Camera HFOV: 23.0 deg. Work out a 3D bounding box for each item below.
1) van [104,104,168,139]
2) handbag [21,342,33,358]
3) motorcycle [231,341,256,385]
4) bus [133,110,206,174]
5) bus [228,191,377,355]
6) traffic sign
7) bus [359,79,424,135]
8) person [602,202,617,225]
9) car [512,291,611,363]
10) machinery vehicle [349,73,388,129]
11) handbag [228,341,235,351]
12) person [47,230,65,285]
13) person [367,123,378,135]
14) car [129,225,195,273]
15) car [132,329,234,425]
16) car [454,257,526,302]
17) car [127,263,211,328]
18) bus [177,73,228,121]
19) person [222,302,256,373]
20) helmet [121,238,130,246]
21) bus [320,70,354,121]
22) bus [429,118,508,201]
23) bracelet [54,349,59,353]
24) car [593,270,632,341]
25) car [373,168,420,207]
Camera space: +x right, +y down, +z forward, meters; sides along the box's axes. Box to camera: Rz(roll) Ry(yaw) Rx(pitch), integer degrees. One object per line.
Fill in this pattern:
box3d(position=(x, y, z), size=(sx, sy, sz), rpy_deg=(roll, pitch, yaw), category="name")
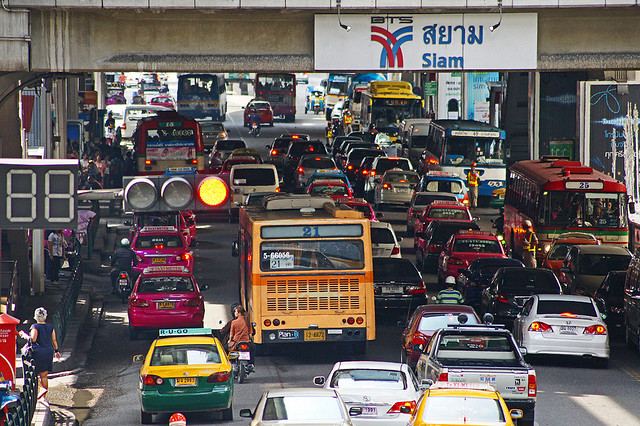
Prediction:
box3d(position=(-10.630, -5.607, 96.165), size=(4.321, 2.313, 2.377), rpy_deg=(-2, 0, 7), category="van")
box3d(position=(-7.225, 3.357, 38.877), size=(0.261, 0.338, 0.296), rpy_deg=(-4, 9, -10), category="handbag")
box3d(position=(-1.931, 3.834, 40.174), size=(0.533, 0.659, 1.033), rpy_deg=(-1, 6, -2), category="motorcycle")
box3d(position=(-6.162, -2.838, 63.622), size=(2.026, 2.198, 4.099), rpy_deg=(-1, 6, -6), category="bus")
box3d(position=(-0.260, 1.596, 41.577), size=(2.447, 2.752, 4.867), rpy_deg=(0, 7, -5), category="bus")
box3d(position=(-2.924, -0.423, 32.233), size=(2.173, 0.799, 0.384), rpy_deg=(-3, 9, -5), category="traffic sign")
box3d(position=(3.619, -5.294, 79.796), size=(2.876, 3.334, 7.558), rpy_deg=(0, 3, -4), category="bus")
box3d(position=(9.320, -0.005, 50.517), size=(0.606, 0.823, 0.185), rpy_deg=(-2, 8, 6), category="person")
box3d(position=(6.664, 3.009, 43.430), size=(2.184, 1.696, 4.504), rpy_deg=(3, 3, 2), category="car")
box3d(position=(2.928, -6.695, 90.496), size=(1.633, 2.399, 4.725), rpy_deg=(-1, 6, -3), category="machinery vehicle")
box3d(position=(-2.274, 3.444, 40.711), size=(0.220, 0.224, 0.067), rpy_deg=(15, -4, 19), category="handbag")
box3d(position=(-8.565, 1.386, 51.233), size=(0.421, 1.589, 0.932), rpy_deg=(-2, 9, 3), category="person")
box3d(position=(2.741, -4.325, 80.087), size=(0.475, 0.325, 0.856), rpy_deg=(0, 12, -5), category="person")
box3d(position=(-5.176, 1.159, 51.242), size=(2.010, 1.559, 3.537), rpy_deg=(0, 8, -2), category="car")
box3d(position=(-3.282, 3.865, 38.492), size=(1.590, 1.359, 2.700), rpy_deg=(0, 7, -5), category="car")
box3d(position=(5.061, 1.983, 46.328), size=(0.992, 0.792, 2.275), rpy_deg=(0, 6, -1), category="car")
box3d(position=(-4.700, 2.336, 46.669), size=(2.165, 1.747, 4.532), rpy_deg=(0, 8, -6), category="car")
box3d(position=(-8.238, -8.325, 110.619), size=(2.584, 2.850, 6.473), rpy_deg=(0, 5, 1), category="bus")
box3d(position=(-2.060, 2.957, 41.386), size=(0.899, 1.075, 1.611), rpy_deg=(0, 9, -3), category="person")
box3d(position=(-6.058, 0.858, 49.068), size=(0.205, 0.241, 0.294), rpy_deg=(-2, -15, -7), category="helmet")
box3d(position=(1.123, -9.529, 120.730), size=(1.777, 2.906, 5.830), rpy_deg=(4, 14, -7), category="bus")
box3d(position=(6.203, -2.712, 67.883), size=(1.718, 2.347, 5.092), rpy_deg=(2, 5, -5), category="bus")
box3d(position=(-6.603, 3.469, 39.580), size=(0.066, 0.067, 0.069), rpy_deg=(0, 3, -3), category="bracelet")
box3d(position=(8.889, 2.409, 46.330), size=(1.155, 1.335, 2.532), rpy_deg=(3, 0, 2), category="car")
box3d(position=(3.330, -0.734, 64.602), size=(1.743, 1.433, 3.311), rpy_deg=(2, -6, 0), category="car")
